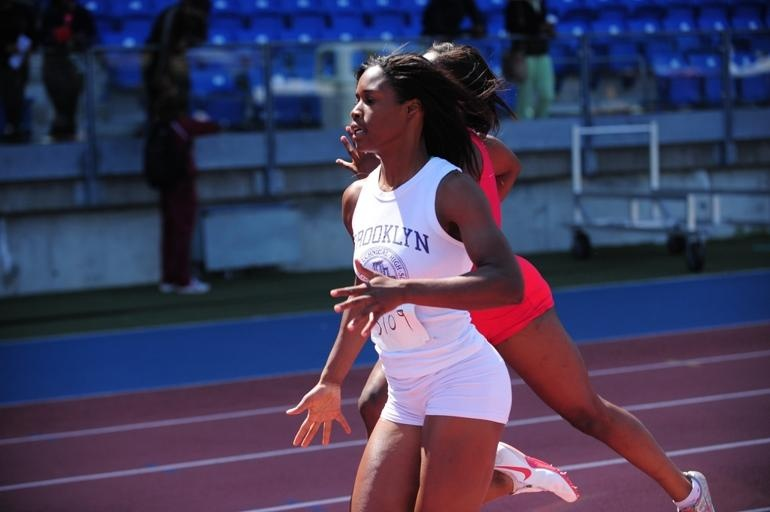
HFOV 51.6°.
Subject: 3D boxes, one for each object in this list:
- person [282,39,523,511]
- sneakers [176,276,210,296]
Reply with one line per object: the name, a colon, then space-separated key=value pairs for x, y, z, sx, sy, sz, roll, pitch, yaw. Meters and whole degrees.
person: x=0.097 y=0.107 z=3.832 sx=0.952 sy=1.617 sz=0.908 roll=-3 pitch=1 yaw=-8
sneakers: x=-1.697 y=0.257 z=7.001 sx=0.222 sy=0.104 sz=0.130 roll=-8 pitch=9 yaw=4
